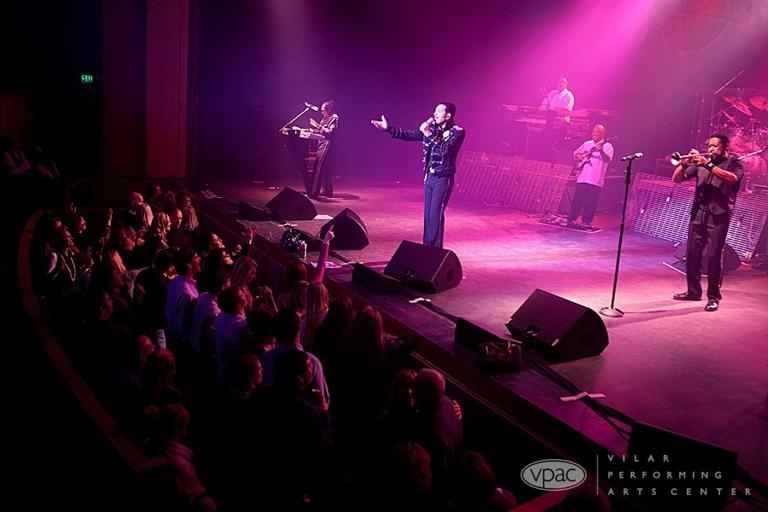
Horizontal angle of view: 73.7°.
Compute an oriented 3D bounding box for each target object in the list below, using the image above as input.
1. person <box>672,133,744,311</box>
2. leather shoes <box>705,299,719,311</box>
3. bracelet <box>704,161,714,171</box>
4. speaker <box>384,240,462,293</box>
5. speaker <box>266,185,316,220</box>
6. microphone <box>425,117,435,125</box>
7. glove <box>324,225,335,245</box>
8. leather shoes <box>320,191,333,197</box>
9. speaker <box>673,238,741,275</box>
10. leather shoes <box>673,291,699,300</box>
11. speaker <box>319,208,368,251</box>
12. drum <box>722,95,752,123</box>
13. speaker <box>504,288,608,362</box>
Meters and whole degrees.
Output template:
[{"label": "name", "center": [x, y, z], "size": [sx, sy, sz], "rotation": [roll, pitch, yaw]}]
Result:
[{"label": "person", "center": [3.757, -0.418, 6.033], "size": [0.712, 1.988, 0.569], "rotation": [14, 17, 34]}, {"label": "leather shoes", "center": [3.793, 0.594, 5.919], "size": [0.119, 0.106, 0.232], "rotation": [13, 17, 31]}, {"label": "bracelet", "center": [3.724, -1.019, 5.853], "size": [0.099, 0.039, 0.097], "rotation": [-14, 25, -28]}, {"label": "speaker", "center": [0.502, 0.121, 6.345], "size": [0.684, 0.482, 0.800], "rotation": [-13, 19, -41]}, {"label": "speaker", "center": [-1.639, -0.861, 9.207], "size": [0.755, 0.526, 0.618], "rotation": [27, 9, 26]}, {"label": "microphone", "center": [0.654, -1.877, 7.201], "size": [0.199, 0.099, 0.273], "rotation": [-1, 14, 1]}, {"label": "glove", "center": [-0.705, -0.255, 6.527], "size": [0.090, 0.330, 0.080], "rotation": [-4, 57, -19]}, {"label": "leather shoes", "center": [-1.300, -1.378, 11.750], "size": [0.172, 0.111, 0.124], "rotation": [1, 4, 8]}, {"label": "speaker", "center": [4.722, 0.079, 7.491], "size": [0.635, 0.452, 0.733], "rotation": [0, 1, -6]}, {"label": "leather shoes", "center": [3.673, 0.520, 6.240], "size": [0.265, 0.117, 0.108], "rotation": [7, 6, 20]}, {"label": "speaker", "center": [-0.609, -0.434, 8.122], "size": [0.358, 0.782, 1.018], "rotation": [-13, -4, -1]}, {"label": "drum", "center": [7.883, -3.297, 11.403], "size": [0.706, 0.544, 0.633], "rotation": [15, 18, 35]}, {"label": "speaker", "center": [1.615, 0.650, 4.816], "size": [0.610, 0.494, 0.737], "rotation": [-2, 10, -22]}]
